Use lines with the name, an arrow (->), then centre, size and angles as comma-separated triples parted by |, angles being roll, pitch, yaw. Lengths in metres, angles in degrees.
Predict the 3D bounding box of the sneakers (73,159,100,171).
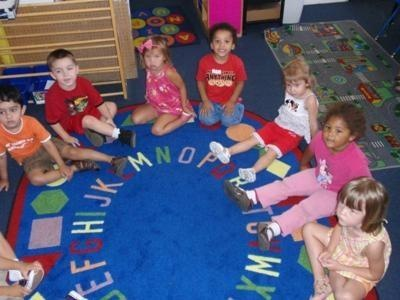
sneakers -> -1.139, 0.149, 3.117 | 0.271, 0.088, 0.109 | 1, 4, -5

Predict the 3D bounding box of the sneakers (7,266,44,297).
sneakers -> -1.356, 0.971, 2.416 | 0.251, 0.175, 0.080 | 5, 2, -33

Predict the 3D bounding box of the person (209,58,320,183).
person -> 0.649, -0.264, 3.270 | 1.143, 0.872, 0.669 | -36, 55, 0

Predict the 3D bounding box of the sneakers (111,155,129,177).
sneakers -> -0.796, 0.160, 3.099 | 0.115, 0.238, 0.094 | 12, 62, 10

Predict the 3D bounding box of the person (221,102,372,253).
person -> 0.843, 0.174, 2.599 | 1.154, 0.847, 0.712 | -20, 35, -16

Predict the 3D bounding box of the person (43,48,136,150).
person -> -1.225, -0.540, 3.414 | 0.928, 0.880, 0.612 | 21, 54, 9

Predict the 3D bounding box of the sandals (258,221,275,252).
sandals -> 0.542, 0.705, 2.570 | 0.093, 0.093, 0.228 | 14, 68, -42
